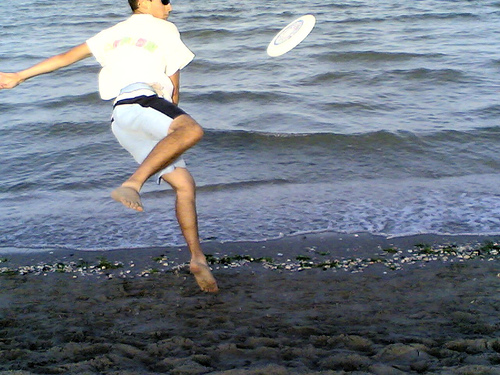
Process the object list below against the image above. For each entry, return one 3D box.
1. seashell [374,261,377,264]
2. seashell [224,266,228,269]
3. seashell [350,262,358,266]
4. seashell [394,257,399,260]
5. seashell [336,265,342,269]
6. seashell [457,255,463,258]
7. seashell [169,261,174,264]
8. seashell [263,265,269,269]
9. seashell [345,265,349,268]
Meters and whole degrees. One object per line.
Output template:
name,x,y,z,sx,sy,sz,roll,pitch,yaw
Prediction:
seashell,1.866,1.131,11.345,0.039,0.021,0.027,7,-15,9
seashell,-0.365,1.198,11.295,0.055,0.017,0.056,-10,14,-2
seashell,1.544,1.153,11.318,0.114,0.032,0.098,-9,15,-1
seashell,2.189,1.083,11.417,0.080,0.013,0.044,-8,15,-31
seashell,1.311,1.189,11.250,0.080,0.025,0.095,-7,14,8
seashell,3.119,1.052,11.333,0.084,0.016,0.055,-6,15,10
seashell,-1.181,1.138,11.421,0.064,0.017,0.066,-10,14,-3
seashell,0.229,1.198,11.310,0.065,0.025,0.105,-14,15,-13
seashell,1.428,1.183,11.261,0.055,0.017,0.068,-8,14,6
